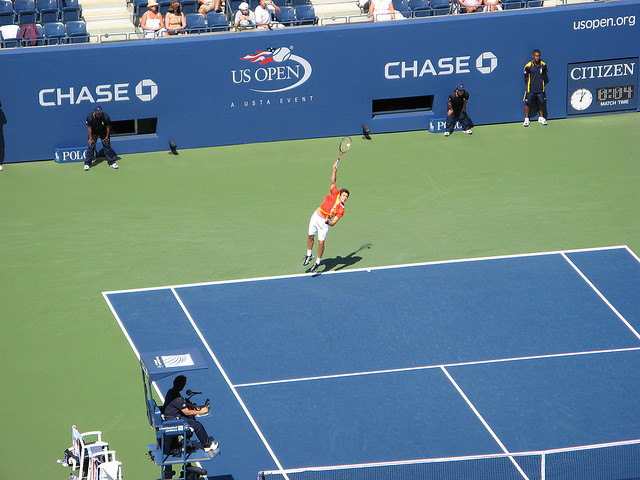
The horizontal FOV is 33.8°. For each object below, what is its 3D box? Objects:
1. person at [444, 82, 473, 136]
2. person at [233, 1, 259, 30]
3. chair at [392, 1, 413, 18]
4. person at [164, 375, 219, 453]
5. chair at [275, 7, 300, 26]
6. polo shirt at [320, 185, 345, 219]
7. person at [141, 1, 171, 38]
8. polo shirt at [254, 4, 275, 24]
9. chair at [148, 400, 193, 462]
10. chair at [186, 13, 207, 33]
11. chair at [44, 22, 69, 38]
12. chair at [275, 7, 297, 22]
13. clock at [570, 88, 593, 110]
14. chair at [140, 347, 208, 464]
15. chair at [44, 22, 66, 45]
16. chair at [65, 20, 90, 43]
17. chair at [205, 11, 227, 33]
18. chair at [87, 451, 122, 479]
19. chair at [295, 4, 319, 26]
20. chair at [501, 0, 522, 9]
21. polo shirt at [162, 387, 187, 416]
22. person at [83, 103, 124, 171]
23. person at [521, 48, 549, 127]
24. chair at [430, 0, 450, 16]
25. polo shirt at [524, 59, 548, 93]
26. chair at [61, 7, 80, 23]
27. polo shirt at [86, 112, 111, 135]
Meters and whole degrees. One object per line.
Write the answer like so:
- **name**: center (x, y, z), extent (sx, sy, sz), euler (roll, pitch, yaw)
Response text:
- **person**: center (3.988, -3.734, 30.160), extent (0.723, 1.585, 0.478), euler (-2, 32, 2)
- **person**: center (-2.114, -6.317, 29.799), extent (0.605, 0.905, 0.825), euler (-4, 11, -20)
- **chair**: center (2.433, -6.677, 30.812), extent (0.557, 0.613, 0.435), euler (0, 24, 4)
- **person**: center (-2.321, 3.082, 18.864), extent (0.900, 1.442, 0.646), euler (-7, 13, -24)
- **chair**: center (-0.905, -6.376, 30.270), extent (0.515, 0.770, 0.587), euler (-2, 13, -11)
- **polo shirt**: center (0.297, -0.800, 23.354), extent (0.257, 0.665, 0.510), euler (1, 38, -30)
- **person**: center (-4.573, -6.091, 29.105), extent (0.744, 0.933, 0.789), euler (-6, 17, -10)
- **polo shirt**: center (-1.555, -6.367, 29.781), extent (0.583, 0.745, 0.376), euler (1, 4, -15)
- **chair**: center (-2.662, 3.440, 18.897), extent (0.748, 1.187, 0.875), euler (-2, -1, -3)
- **chair**: center (-3.499, -6.085, 29.702), extent (0.481, 0.717, 0.555), euler (-2, 11, -9)
- **chair**: center (-7.210, -5.755, 28.849), extent (0.519, 0.694, 0.604), euler (-4, 6, -20)
- **chair**: center (-0.952, -6.423, 30.202), extent (0.573, 0.576, 0.621), euler (0, 14, -3)
- **clock**: center (7.707, -4.178, 31.111), extent (0.425, 0.469, 0.045), euler (-23, 21, 0)
- **chair**: center (-2.629, 2.917, 19.076), extent (1.046, 1.671, 1.799), euler (-6, 17, -10)
- **chair**: center (-7.279, -5.646, 28.923), extent (0.480, 0.764, 0.631), euler (-2, 6, -15)
- **chair**: center (-6.623, -5.665, 28.759), extent (0.487, 0.758, 0.654), euler (-1, 6, -13)
- **chair**: center (-2.915, -6.107, 29.665), extent (0.593, 0.482, 0.974), euler (-5, 17, -5)
- **chair**: center (-3.857, 3.996, 18.813), extent (0.502, 0.724, 0.446), euler (-3, 13, -15)
- **chair**: center (-0.357, -6.484, 30.184), extent (0.617, 0.755, 0.603), euler (-1, 9, -10)
- **chair**: center (5.628, -6.872, 30.790), extent (0.556, 0.257, 0.538), euler (1, 17, 13)
- **polo shirt**: center (-2.558, 2.853, 18.662), extent (0.355, 0.504, 0.557), euler (-3, 9, -24)
- **person**: center (-5.887, -2.777, 28.318), extent (0.804, 1.780, 0.727), euler (2, 25, -5)
- **person**: center (6.276, -4.403, 30.590), extent (0.846, 2.239, 0.632), euler (-16, 20, -38)
- **chair**: center (3.515, -6.678, 30.591), extent (0.504, 0.765, 0.561), euler (0, 5, 0)
- **polo shirt**: center (6.203, -4.747, 30.307), extent (0.729, 1.092, 0.386), euler (-2, 17, -5)
- **chair**: center (-7.029, -6.330, 29.718), extent (0.398, 0.581, 0.511), euler (1, 2, -3)
- **polo shirt**: center (-5.920, -3.105, 28.104), extent (0.479, 0.747, 0.267), euler (-10, 51, -19)
